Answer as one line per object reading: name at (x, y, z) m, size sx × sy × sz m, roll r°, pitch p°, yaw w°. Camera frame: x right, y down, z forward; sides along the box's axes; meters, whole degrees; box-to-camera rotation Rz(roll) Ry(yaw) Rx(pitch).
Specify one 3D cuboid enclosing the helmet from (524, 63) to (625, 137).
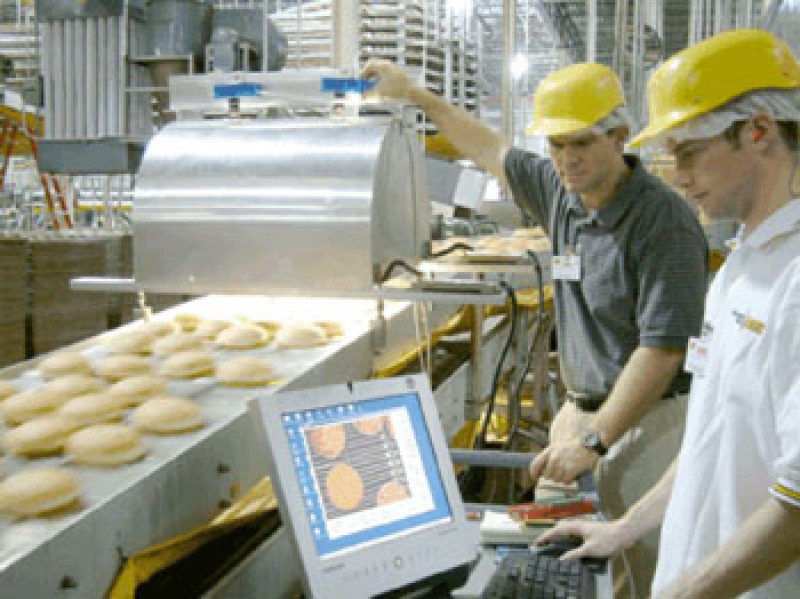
helmet at (0.489, -0.564, 1.929) m, size 0.276 × 0.140 × 0.202 m, roll -32°, pitch 24°, yaw -26°

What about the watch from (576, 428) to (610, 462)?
watch at (0.481, 0.361, 1.723) m, size 0.068 × 0.051 × 0.070 m, roll 43°, pitch 13°, yaw -46°
